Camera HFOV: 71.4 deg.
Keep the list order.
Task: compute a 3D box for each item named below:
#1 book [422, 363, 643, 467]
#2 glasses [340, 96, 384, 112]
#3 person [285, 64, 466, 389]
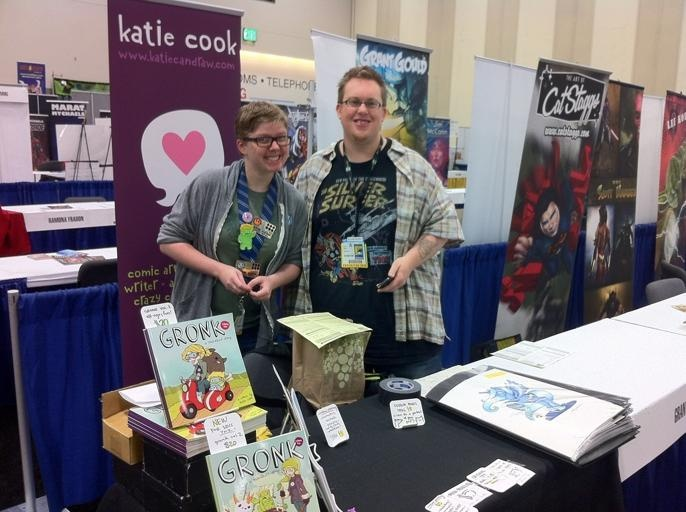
[{"bbox_3d":[0.591,0.479,1.490,0.288,0.072,0.300,-7,13,-43],"label":"book"},{"bbox_3d":[0.085,-0.662,2.074,0.170,0.053,0.060,1,12,2],"label":"glasses"},{"bbox_3d":[0.103,0.142,2.397,0.776,1.983,0.628,8,30,15],"label":"person"}]
